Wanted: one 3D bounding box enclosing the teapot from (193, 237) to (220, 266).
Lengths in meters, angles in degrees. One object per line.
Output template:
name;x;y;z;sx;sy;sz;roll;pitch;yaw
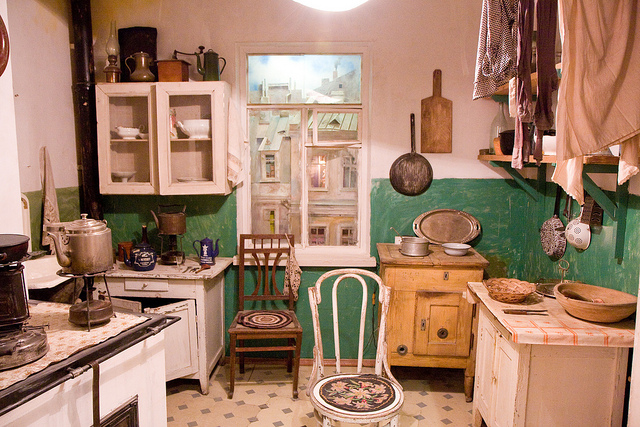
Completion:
teapot;-0.974;0.321;4.411;0.243;0.243;0.144;-1;5;-3

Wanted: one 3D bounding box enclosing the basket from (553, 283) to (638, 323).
basket;1.738;0.530;3.312;0.407;0.202;0.505;1;9;-9

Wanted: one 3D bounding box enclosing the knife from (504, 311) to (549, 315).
knife;1.341;0.648;3.340;0.269;0.020;0.037;-2;7;3

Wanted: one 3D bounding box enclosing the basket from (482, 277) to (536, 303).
basket;1.318;0.530;3.620;0.281;0.142;0.323;1;8;9

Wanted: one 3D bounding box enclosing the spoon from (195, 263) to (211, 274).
spoon;-0.965;0.457;4.214;0.049;0.020;0.184;7;3;7

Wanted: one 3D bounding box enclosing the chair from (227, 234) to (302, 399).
chair;-0.492;0.817;4.391;0.614;1.280;0.961;-3;8;-5

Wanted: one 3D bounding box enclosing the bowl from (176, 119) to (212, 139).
bowl;-1.009;-0.686;4.197;0.209;0.107;0.167;-3;3;-16

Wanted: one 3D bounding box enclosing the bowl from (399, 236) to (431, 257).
bowl;0.781;0.279;4.234;0.257;0.132;0.215;-1;7;11

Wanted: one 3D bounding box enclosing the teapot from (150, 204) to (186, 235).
teapot;-1.279;0.046;4.412;0.254;0.232;0.409;-4;7;-15

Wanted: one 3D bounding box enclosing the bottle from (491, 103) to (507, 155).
bottle;1.468;-0.708;4.206;0.123;0.433;0.619;0;8;19

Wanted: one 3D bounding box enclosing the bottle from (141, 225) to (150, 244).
bottle;-1.520;0.188;4.462;0.046;0.173;0.291;-5;8;-16

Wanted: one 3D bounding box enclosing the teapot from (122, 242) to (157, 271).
teapot;-1.494;0.355;4.221;0.292;0.241;0.217;-2;-2;-24

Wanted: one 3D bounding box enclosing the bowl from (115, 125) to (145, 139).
bowl;-1.558;-0.661;4.206;0.175;0.091;0.103;8;-3;-42

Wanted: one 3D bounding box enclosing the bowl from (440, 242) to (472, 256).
bowl;1.117;0.301;4.223;0.200;0.092;0.159;-1;7;10

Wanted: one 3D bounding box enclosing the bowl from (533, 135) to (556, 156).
bowl;1.492;-0.452;3.382;0.101;0.139;0.261;2;8;29

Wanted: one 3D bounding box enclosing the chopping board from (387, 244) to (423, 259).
chopping board;0.657;0.324;4.275;0.134;0.034;0.145;1;7;-1

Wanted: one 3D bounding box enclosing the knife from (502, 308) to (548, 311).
knife;1.342;0.638;3.361;0.280;0.015;0.041;-2;7;6
